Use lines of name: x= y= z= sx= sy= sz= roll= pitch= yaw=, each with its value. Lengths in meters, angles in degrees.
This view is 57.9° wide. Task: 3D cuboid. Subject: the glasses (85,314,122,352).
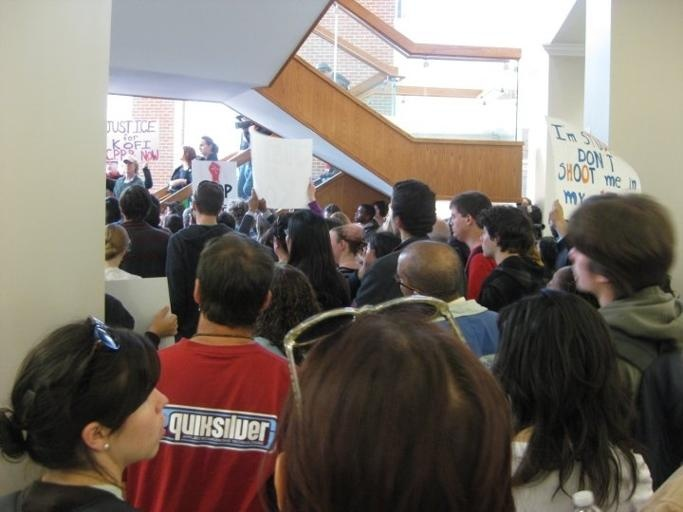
glasses: x=-0.605 y=0.197 z=1.553 sx=0.120 sy=0.029 sz=0.074 roll=37 pitch=5 yaw=33
